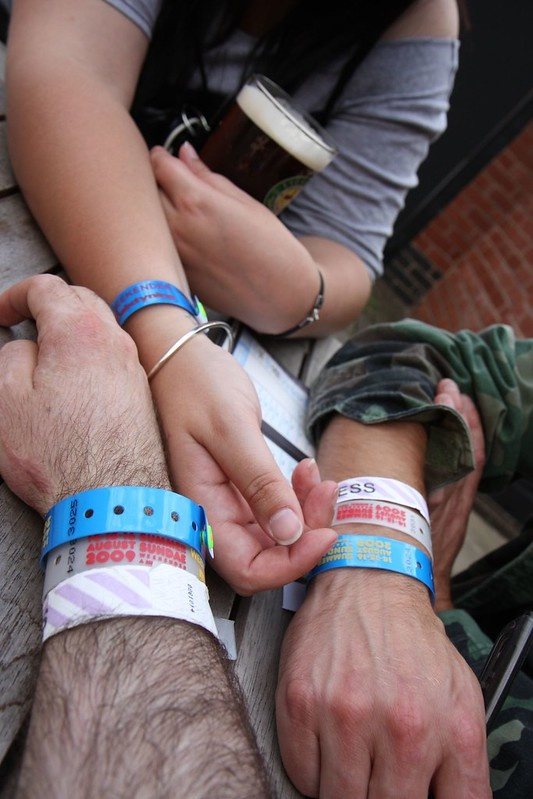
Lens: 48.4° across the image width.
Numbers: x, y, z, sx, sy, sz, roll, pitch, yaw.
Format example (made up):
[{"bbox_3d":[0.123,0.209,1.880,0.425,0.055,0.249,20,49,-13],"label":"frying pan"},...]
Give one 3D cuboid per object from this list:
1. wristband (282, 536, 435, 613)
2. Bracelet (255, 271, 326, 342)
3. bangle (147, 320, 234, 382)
[{"bbox_3d":[0.091,0.169,0.614,0.110,0.113,0.026,-4,54,17],"label":"wristband"},{"bbox_3d":[0.049,-0.136,0.878,0.026,0.100,0.098,34,57,-39],"label":"Bracelet"},{"bbox_3d":[-0.090,-0.047,0.653,0.023,0.081,0.082,38,66,21],"label":"bangle"}]
